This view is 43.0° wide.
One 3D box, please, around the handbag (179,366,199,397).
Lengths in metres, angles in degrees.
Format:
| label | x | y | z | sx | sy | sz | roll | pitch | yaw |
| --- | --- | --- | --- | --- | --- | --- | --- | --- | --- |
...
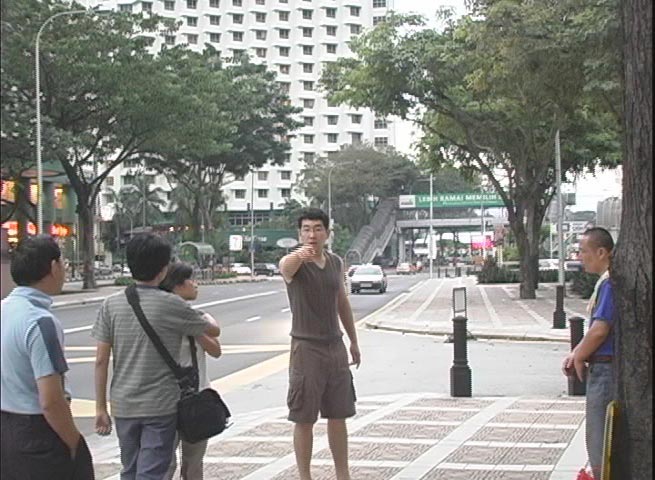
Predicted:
| label | x | y | z | sx | sy | sz | roll | pitch | yaw |
| --- | --- | --- | --- | --- | --- | --- | --- | --- | --- |
| handbag | -1.074 | 1.081 | 6.391 | 0.071 | 0.222 | 0.144 | -2 | 1 | -6 |

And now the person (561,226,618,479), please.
| label | x | y | z | sx | sy | sz | roll | pitch | yaw |
| --- | --- | --- | --- | --- | --- | --- | --- | --- | --- |
| person | 2.250 | 1.006 | 7.122 | 0.417 | 2.195 | 0.903 | -1 | 2 | 18 |

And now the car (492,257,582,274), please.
| label | x | y | z | sx | sy | sz | roll | pitch | yaw |
| --- | --- | --- | --- | --- | --- | --- | --- | --- | --- |
| car | 12.562 | 1.544 | 50.656 | 3.501 | 0.688 | 0.900 | -3 | 4 | -11 |

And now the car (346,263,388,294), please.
| label | x | y | z | sx | sy | sz | roll | pitch | yaw |
| --- | --- | --- | --- | --- | --- | --- | --- | --- | --- |
| car | 1.805 | 1.840 | 39.690 | 1.125 | 1.062 | 2.903 | -1 | -6 | 4 |

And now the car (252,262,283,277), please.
| label | x | y | z | sx | sy | sz | roll | pitch | yaw |
| --- | --- | --- | --- | --- | --- | --- | --- | --- | --- |
| car | -6.148 | 2.767 | 80.010 | 2.314 | 1.173 | 1.527 | -5 | -4 | 35 |
